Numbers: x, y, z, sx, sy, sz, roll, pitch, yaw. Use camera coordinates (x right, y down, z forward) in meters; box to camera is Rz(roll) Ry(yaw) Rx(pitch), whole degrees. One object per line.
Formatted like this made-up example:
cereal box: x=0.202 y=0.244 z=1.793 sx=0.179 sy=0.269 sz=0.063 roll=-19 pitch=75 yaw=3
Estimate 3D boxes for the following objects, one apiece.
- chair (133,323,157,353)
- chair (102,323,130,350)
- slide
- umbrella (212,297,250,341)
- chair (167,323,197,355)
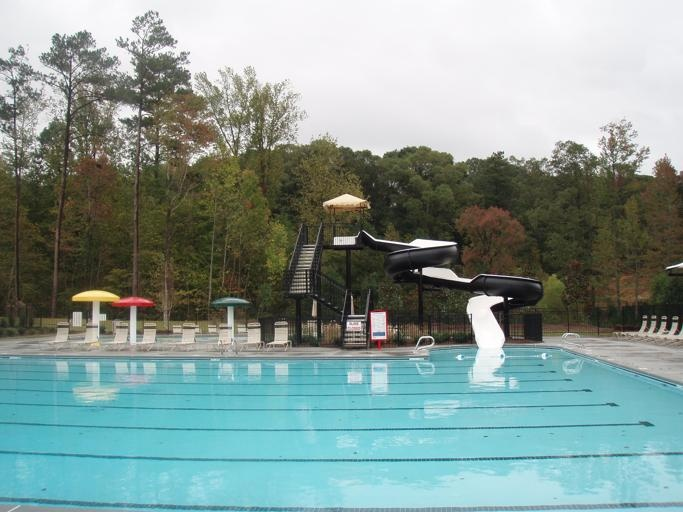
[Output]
chair: x=-7.975 y=3.230 z=29.276 sx=0.885 sy=1.278 sz=1.788 roll=2 pitch=0 yaw=2
chair: x=-9.238 y=3.243 z=29.873 sx=0.760 sy=1.058 sz=1.681 roll=1 pitch=-6 yaw=-20
slide: x=4.755 y=1.421 z=32.077 sx=7.975 sy=5.229 sz=5.406 roll=-2 pitch=-5 yaw=12
umbrella: x=-4.755 y=2.542 z=30.882 sx=1.527 sy=1.774 sz=1.580 roll=7 pitch=9 yaw=38
chair: x=-6.353 y=3.301 z=29.225 sx=0.796 sy=1.154 sz=1.523 roll=0 pitch=-6 yaw=-1
